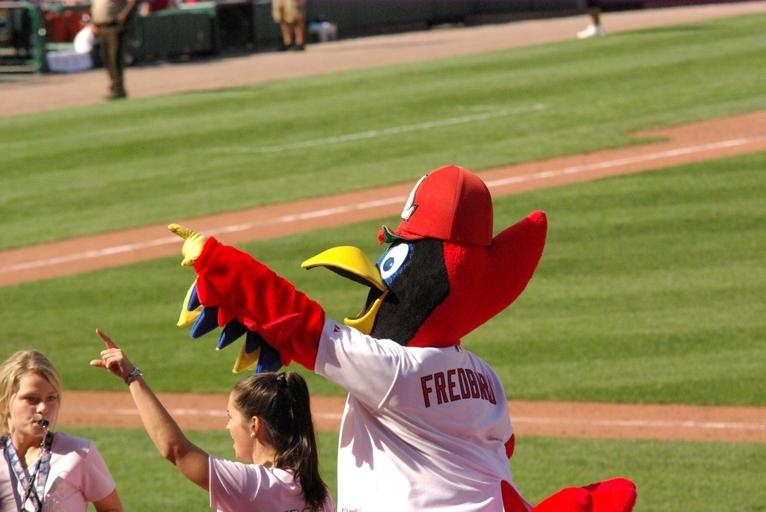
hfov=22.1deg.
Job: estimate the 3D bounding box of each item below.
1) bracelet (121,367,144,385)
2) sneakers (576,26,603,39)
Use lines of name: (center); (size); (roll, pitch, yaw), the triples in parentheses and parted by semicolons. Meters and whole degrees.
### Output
bracelet: (-2.663, 1.316, 21.015); (0.197, 0.111, 0.167); (-31, 34, -18)
sneakers: (3.126, -3.377, 29.784); (0.298, 0.066, 0.206); (-14, 15, -30)
